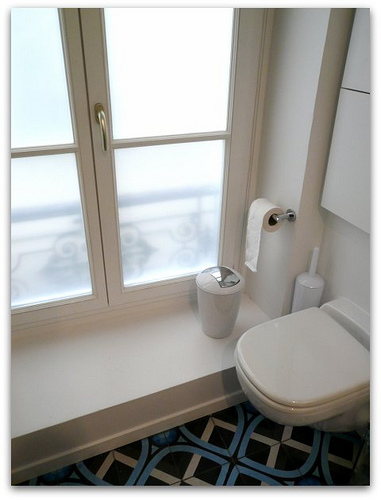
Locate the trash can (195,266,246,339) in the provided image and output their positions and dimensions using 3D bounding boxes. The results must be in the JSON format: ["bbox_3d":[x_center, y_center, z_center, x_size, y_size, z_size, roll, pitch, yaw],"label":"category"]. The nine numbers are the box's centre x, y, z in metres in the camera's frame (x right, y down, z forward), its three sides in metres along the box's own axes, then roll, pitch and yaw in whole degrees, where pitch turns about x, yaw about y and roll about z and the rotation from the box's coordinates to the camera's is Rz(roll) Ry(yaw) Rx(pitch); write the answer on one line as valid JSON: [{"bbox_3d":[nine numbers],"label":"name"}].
[{"bbox_3d":[0.112,0.195,1.377,0.178,0.273,0.187,-21,36,-34],"label":"trash can"}]
